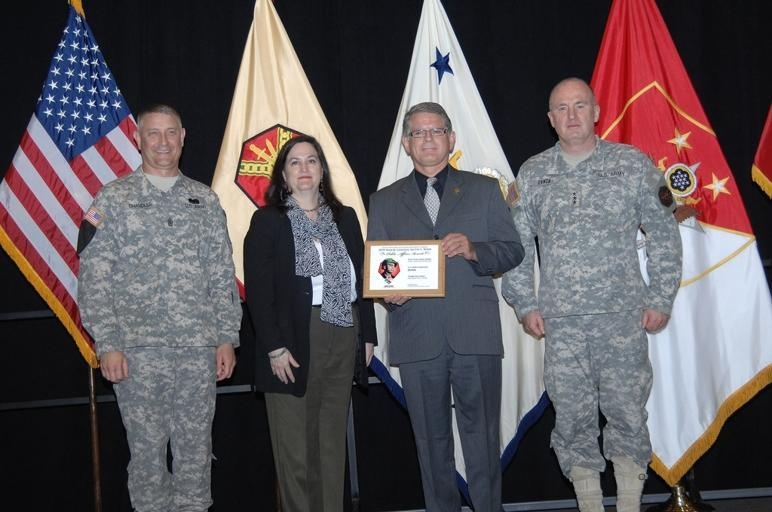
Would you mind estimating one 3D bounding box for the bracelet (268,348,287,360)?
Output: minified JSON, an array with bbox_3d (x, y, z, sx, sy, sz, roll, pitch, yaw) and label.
[{"bbox_3d":[-0.632,0.568,3.843,0.070,0.022,0.074,-20,-3,39],"label":"bracelet"}]
